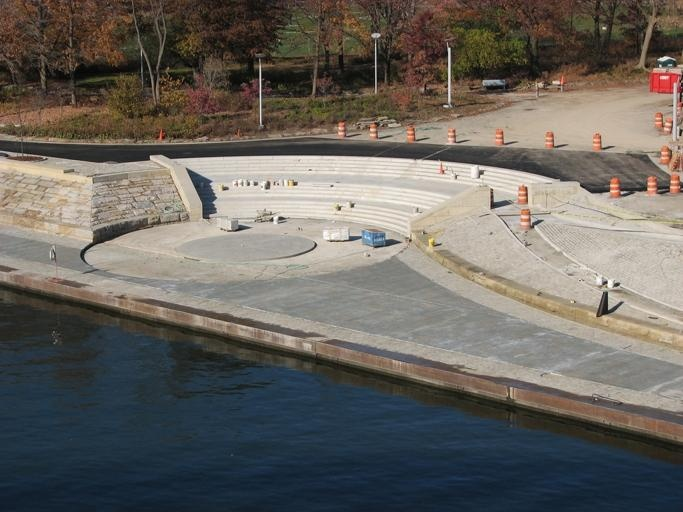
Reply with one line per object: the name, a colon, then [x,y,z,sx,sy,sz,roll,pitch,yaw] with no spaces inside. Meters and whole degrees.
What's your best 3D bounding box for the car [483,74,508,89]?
car: [14.059,-14.811,117.563,2.260,0.754,2.183,0,14,10]
